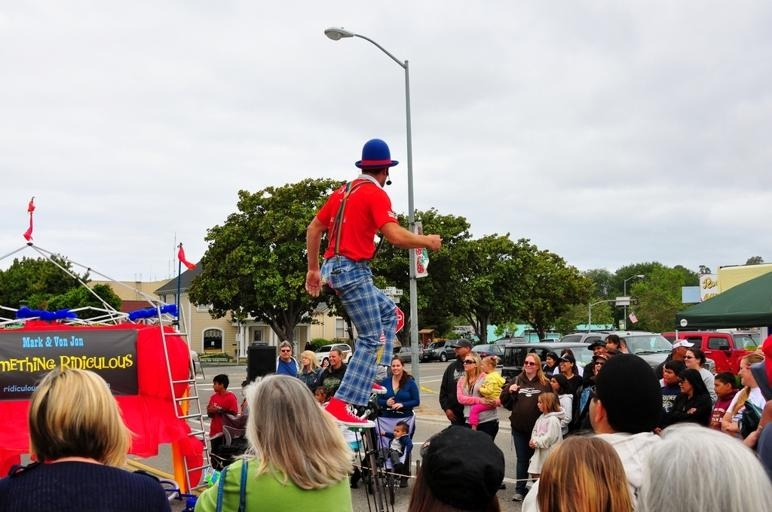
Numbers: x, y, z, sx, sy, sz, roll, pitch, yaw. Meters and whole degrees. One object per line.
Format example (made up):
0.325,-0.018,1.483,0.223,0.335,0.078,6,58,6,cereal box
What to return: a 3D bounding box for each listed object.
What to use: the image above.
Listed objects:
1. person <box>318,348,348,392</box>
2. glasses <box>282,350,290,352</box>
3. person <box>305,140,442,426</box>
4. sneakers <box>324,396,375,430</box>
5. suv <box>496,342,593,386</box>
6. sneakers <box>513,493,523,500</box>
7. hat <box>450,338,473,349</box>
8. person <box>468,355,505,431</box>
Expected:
-0.842,1.627,13.083,0.446,0.276,0.727,-11,20,0,person
-1.599,1.511,13.830,0.074,0.061,0.170,-1,-8,12,glasses
-0.216,0.211,8.454,1.092,2.747,0.872,2,-8,-5,person
-0.408,1.506,8.288,0.661,0.275,0.213,4,-2,-8,sneakers
3.572,2.366,20.920,2.560,1.341,1.520,-7,-7,37,suv
1.732,3.182,11.519,0.106,0.071,0.183,1,-2,8,sneakers
1.123,1.289,12.913,0.293,0.138,0.184,14,-19,-41,hat
1.394,1.945,12.266,0.593,1.029,0.453,0,-3,20,person
